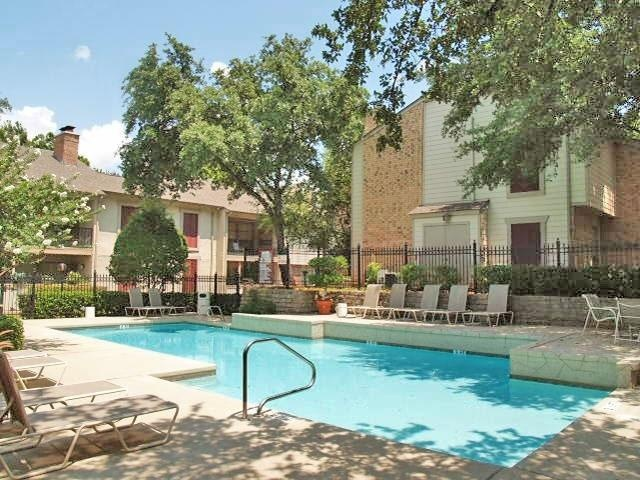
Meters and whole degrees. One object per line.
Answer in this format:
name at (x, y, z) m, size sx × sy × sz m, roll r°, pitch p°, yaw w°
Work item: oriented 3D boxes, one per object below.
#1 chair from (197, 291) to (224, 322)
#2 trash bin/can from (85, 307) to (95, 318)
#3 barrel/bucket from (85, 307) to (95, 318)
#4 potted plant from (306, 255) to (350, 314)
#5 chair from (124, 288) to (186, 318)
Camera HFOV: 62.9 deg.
chair at (-4.432, 2.631, 21.432) m, size 1.606 × 0.965 × 0.857 m, roll 1°, pitch -2°, yaw 18°
trash bin/can at (-8.746, 2.730, 20.184) m, size 0.458 × 0.382 × 0.438 m, roll 1°, pitch 0°, yaw -33°
barrel/bucket at (-8.749, 2.722, 19.989) m, size 0.458 × 0.389 × 0.422 m, roll 1°, pitch 1°, yaw 0°
potted plant at (0.328, 1.592, 19.949) m, size 2.440 × 2.580 × 2.008 m, roll 1°, pitch -7°, yaw -1°
chair at (-7.145, 2.540, 21.348) m, size 1.536 × 0.773 × 1.704 m, roll -3°, pitch -6°, yaw 31°
